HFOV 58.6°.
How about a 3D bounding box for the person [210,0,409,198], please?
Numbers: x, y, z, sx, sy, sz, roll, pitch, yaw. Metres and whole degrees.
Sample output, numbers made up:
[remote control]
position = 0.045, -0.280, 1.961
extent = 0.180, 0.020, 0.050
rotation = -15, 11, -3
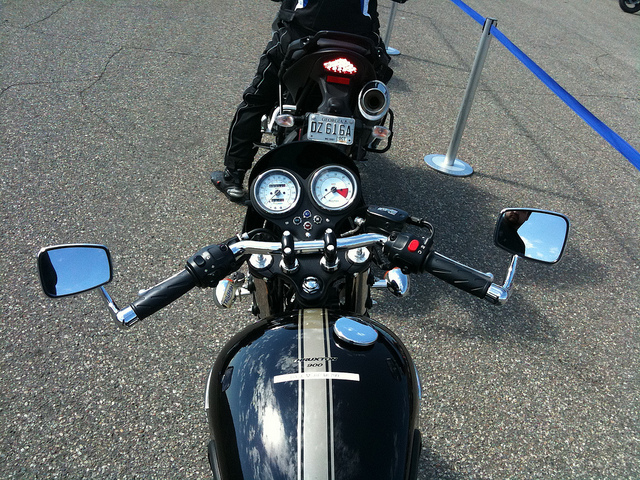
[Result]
[person]
position = -0.159, -1.404, 5.159
extent = 1.150, 1.346, 2.042
rotation = 7, 22, -5
